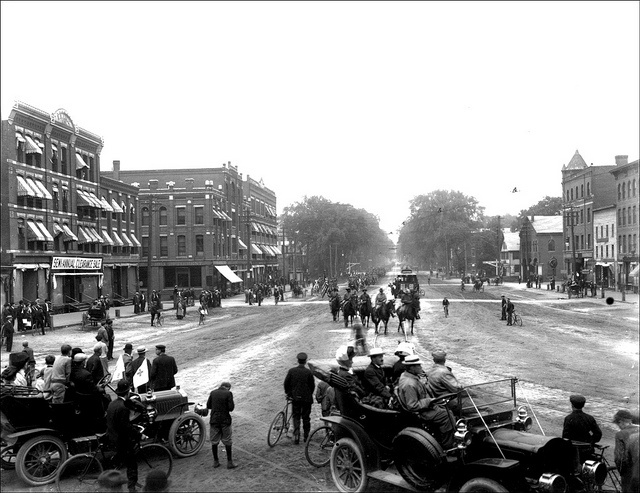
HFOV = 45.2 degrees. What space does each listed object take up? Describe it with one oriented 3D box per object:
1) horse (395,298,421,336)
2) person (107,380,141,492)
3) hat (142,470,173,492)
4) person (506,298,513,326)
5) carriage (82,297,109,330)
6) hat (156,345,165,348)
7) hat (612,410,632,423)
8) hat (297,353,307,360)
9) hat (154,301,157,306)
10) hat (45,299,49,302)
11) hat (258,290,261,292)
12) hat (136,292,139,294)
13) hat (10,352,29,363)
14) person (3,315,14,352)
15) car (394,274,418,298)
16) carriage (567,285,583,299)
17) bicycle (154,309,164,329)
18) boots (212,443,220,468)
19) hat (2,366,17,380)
[{"bbox_3d":[4.573,3.658,40.181,0.708,1.784,2.376,5,-6,-22],"label":"horse"},{"bbox_3d":[-4.825,4.604,18.711,0.667,2.627,0.677,-2,-4,-17],"label":"person"},{"bbox_3d":[-3.273,4.750,15.504,0.581,0.703,0.569,1,-9,-8],"label":"hat"},{"bbox_3d":[10.315,3.614,41.720,0.379,1.410,1.615,-4,-4,14],"label":"person"},{"bbox_3d":[-13.414,3.995,46.029,1.509,1.618,2.727,1,11,-13],"label":"carriage"},{"bbox_3d":[-4.571,2.893,21.988,0.219,0.080,0.267,0,-5,-4],"label":"hat"},{"bbox_3d":[6.916,3.913,17.560,0.325,0.308,0.259,-16,10,-25],"label":"hat"},{"bbox_3d":[-0.483,2.990,20.755,0.238,0.181,0.399,-3,-4,-6],"label":"hat"},{"bbox_3d":[-10.000,3.489,46.684,0.256,0.304,0.260,-2,1,-14],"label":"hat"},{"bbox_3d":[-18.594,3.711,52.290,0.280,0.195,0.246,0,-2,-28],"label":"hat"},{"bbox_3d":[-5.154,3.879,65.968,0.281,0.109,0.293,5,3,24],"label":"hat"},{"bbox_3d":[-14.785,3.818,62.257,0.396,0.126,0.406,0,2,-5],"label":"hat"},{"bbox_3d":[-8.217,3.055,20.918,0.375,0.143,0.300,1,12,13],"label":"hat"},{"bbox_3d":[-14.524,4.097,35.776,0.394,1.619,1.087,-2,-4,-23],"label":"person"},{"bbox_3d":[8.351,3.644,73.668,1.939,2.169,3.447,-1,-7,1],"label":"car"},{"bbox_3d":[20.581,3.676,61.842,0.857,0.973,1.395,-1,-4,6],"label":"carriage"},{"bbox_3d":[-9.772,4.492,47.140,0.725,0.936,1.482,2,-7,-22],"label":"bicycle"},{"bbox_3d":[-2.677,5.380,19.744,0.163,0.609,0.349,-3,-4,-9],"label":"boots"},{"bbox_3d":[-8.224,3.396,20.340,0.276,0.352,0.352,9,13,-4],"label":"hat"}]
